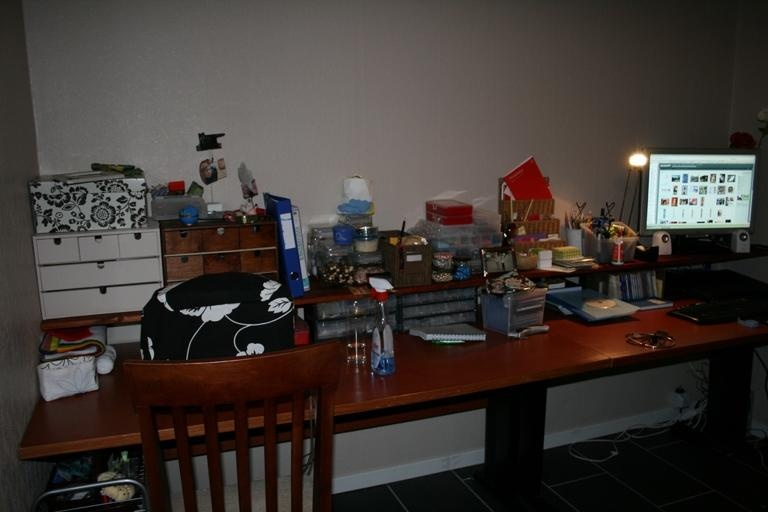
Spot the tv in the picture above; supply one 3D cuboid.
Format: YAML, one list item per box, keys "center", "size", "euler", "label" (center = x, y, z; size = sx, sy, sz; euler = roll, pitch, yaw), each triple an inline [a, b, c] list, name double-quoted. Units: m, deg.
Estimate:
- center: [1.949, -0.366, 3.455]
  size: [0.074, 0.548, 0.779]
  euler: [5, 4, -24]
  label: "tv"

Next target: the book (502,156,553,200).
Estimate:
- center: [0.849, -0.454, 3.350]
  size: [0.286, 0.272, 0.071]
  euler: [-36, 8, -7]
  label: "book"

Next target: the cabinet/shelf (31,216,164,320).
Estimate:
- center: [-1.356, 0.072, 2.777]
  size: [0.740, 0.521, 0.389]
  euler: [-4, 7, -17]
  label: "cabinet/shelf"

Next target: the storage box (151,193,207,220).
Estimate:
- center: [-1.022, -0.242, 2.764]
  size: [0.229, 0.119, 0.170]
  euler: [0, 10, 18]
  label: "storage box"

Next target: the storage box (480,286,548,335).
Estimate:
- center: [0.692, 0.285, 2.990]
  size: [0.311, 0.179, 0.254]
  euler: [-4, 5, -31]
  label: "storage box"
